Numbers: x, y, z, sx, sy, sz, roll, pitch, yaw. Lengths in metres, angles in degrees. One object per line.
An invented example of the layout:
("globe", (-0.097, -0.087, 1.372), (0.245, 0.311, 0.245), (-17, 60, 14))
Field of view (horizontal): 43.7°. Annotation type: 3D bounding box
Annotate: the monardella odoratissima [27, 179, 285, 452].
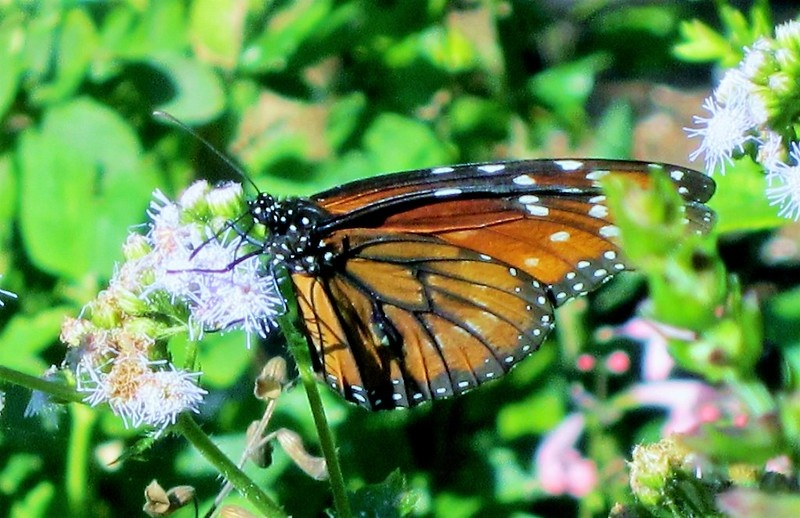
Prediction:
("monardella odoratissima", (-0.681, 0.141, 3.086), (0.549, 0.188, 0.783), (40, 83, 16))
